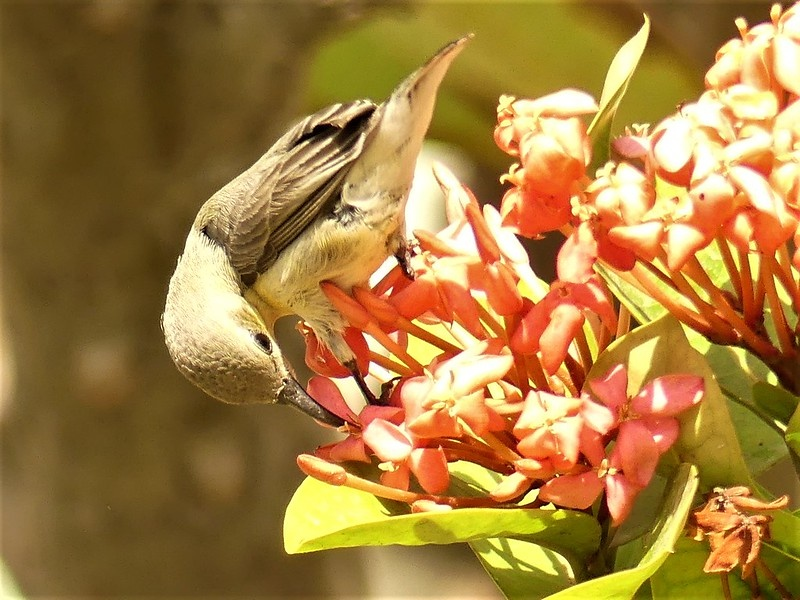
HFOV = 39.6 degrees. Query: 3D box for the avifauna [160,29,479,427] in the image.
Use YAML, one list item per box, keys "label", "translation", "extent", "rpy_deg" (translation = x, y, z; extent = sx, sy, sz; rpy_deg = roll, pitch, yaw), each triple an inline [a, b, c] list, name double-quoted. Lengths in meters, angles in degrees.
- label: "avifauna"
  translation: [-0.231, 0.040, 2.103]
  extent: [0.532, 0.950, 0.313]
  rpy_deg: [-18, 55, -28]
